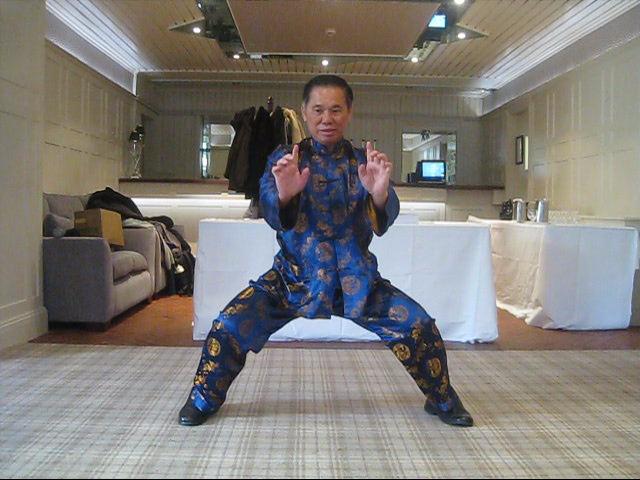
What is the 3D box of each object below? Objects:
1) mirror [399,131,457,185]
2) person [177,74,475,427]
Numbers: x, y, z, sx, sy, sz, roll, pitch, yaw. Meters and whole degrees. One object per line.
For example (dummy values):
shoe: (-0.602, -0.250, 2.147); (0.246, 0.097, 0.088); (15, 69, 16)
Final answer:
mirror: (2.029, -1.547, 8.603); (0.392, 1.184, 1.190); (-10, 14, -31)
person: (0.052, 0.047, 1.968); (1.234, 1.506, 0.733); (1, 1, -5)
